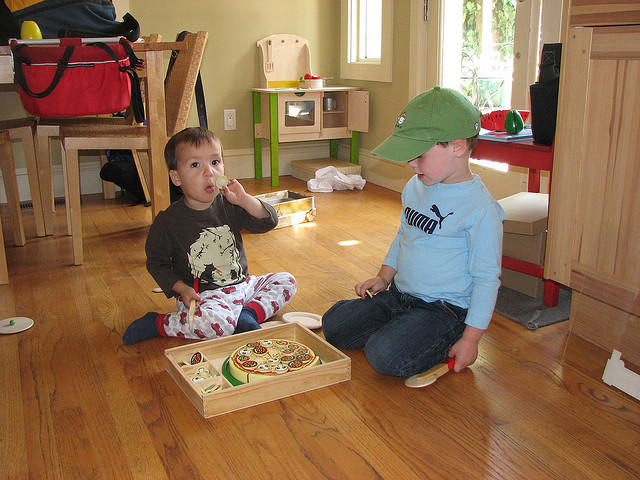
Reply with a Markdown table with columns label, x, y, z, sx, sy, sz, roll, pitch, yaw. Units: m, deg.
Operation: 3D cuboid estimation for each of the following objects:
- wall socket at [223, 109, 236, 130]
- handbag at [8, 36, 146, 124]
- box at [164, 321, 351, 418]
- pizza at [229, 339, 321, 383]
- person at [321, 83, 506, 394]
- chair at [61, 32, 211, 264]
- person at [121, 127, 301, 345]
| label | x | y | z | sx | sy | sz | roll | pitch | yaw |
| --- | --- | --- | --- | --- | --- | --- | --- | --- | --- |
| wall socket | -0.719 | -0.950 | 3.574 | 0.135 | 0.219 | 0.036 | -7 | 24 | -23 |
| handbag | -0.998 | -0.622 | 1.907 | 0.406 | 0.289 | 0.384 | -4 | 21 | -18 |
| box | -0.182 | 0.357 | 1.293 | 0.480 | 0.095 | 0.279 | -10 | 18 | -23 |
| pizza | -0.142 | 0.341 | 1.275 | 0.234 | 0.045 | 0.199 | 11 | 21 | 39 |
| person | 0.272 | -0.021 | 1.339 | 0.439 | 0.790 | 0.465 | -14 | 19 | -34 |
| chair | -0.994 | -0.534 | 2.383 | 0.677 | 1.004 | 0.641 | 5 | 20 | -8 |
| person | -0.388 | -0.135 | 1.774 | 0.635 | 0.875 | 0.698 | 10 | 19 | 31 |
